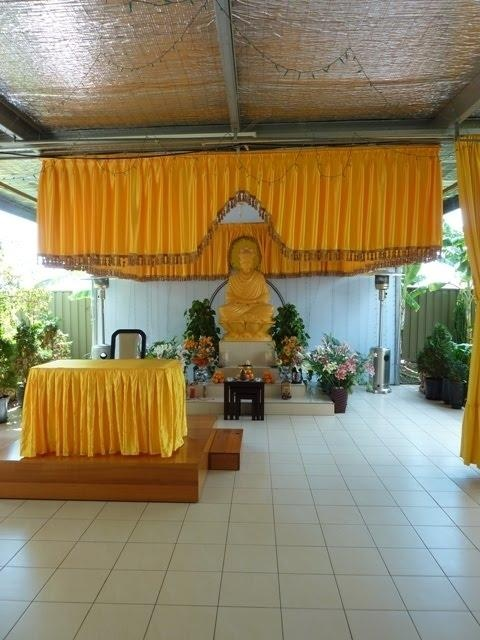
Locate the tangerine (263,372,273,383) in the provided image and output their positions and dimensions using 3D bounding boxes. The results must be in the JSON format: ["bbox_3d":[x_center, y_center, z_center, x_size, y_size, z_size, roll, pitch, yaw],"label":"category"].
[{"bbox_3d":[0.377,0.758,6.036,0.098,0.050,0.137,-1,31,0],"label":"tangerine"}]

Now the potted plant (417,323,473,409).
[{"bbox_3d":[2.979,0.635,6.366,0.472,1.086,1.064,0,1,-9],"label":"potted plant"}]

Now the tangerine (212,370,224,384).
[{"bbox_3d":[-0.300,0.768,6.112,0.157,0.169,0.210,0,1,-5],"label":"tangerine"}]

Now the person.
[{"bbox_3d":[0.101,-0.603,6.666,0.753,1.177,0.615,0,5,10],"label":"person"}]

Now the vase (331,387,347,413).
[{"bbox_3d":[1.274,1.025,5.697,0.205,0.317,0.146,0,1,-4],"label":"vase"}]

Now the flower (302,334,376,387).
[{"bbox_3d":[1.376,0.792,6.221,0.852,0.952,0.863,-4,17,2],"label":"flower"}]
